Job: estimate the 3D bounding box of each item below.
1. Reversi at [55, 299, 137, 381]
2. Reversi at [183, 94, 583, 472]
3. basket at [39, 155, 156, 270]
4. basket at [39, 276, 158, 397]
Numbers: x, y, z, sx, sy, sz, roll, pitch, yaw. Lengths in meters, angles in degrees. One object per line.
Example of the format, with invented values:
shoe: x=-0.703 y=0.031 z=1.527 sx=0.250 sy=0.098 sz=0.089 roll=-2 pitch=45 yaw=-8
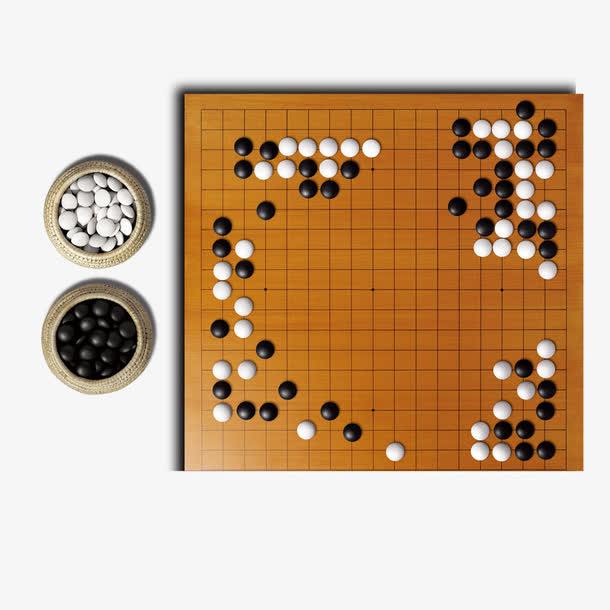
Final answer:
Reversi: x=-0.512 y=0.086 z=2.697 sx=0.198 sy=0.077 sz=0.198 roll=0 pitch=-87 yaw=-2
Reversi: x=0.198 y=-0.056 z=2.766 sx=0.989 sy=0.132 sz=0.930 roll=0 pitch=-83 yaw=1
basket: x=-0.513 y=-0.224 z=2.755 sx=0.256 sy=0.071 sz=0.253 roll=27 pitch=-83 yaw=-3
basket: x=-0.516 y=0.083 z=2.747 sx=0.264 sy=0.092 sz=0.257 roll=-1 pitch=-83 yaw=1
